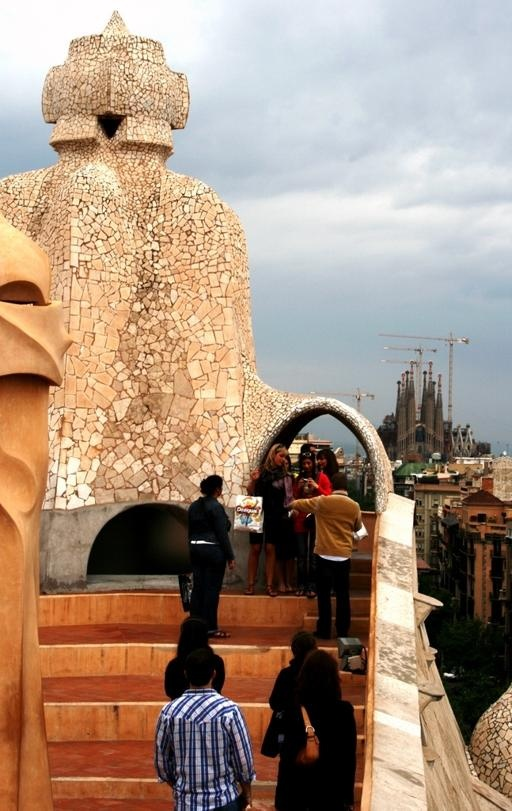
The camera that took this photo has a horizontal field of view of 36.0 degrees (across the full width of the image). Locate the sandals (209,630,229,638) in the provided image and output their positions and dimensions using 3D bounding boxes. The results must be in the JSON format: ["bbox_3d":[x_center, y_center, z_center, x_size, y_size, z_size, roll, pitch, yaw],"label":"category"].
[{"bbox_3d":[-0.331,2.008,7.010,0.196,0.057,0.070,-1,4,1],"label":"sandals"}]

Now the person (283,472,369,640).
[{"bbox_3d":[0.607,1.271,6.547,0.620,1.413,0.433,2,2,-2],"label":"person"}]

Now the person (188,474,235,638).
[{"bbox_3d":[-0.395,1.307,6.765,0.382,1.499,0.577,2,2,-2],"label":"person"}]

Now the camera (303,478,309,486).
[{"bbox_3d":[0.490,0.719,7.666,0.048,0.088,0.048,1,0,6],"label":"camera"}]
